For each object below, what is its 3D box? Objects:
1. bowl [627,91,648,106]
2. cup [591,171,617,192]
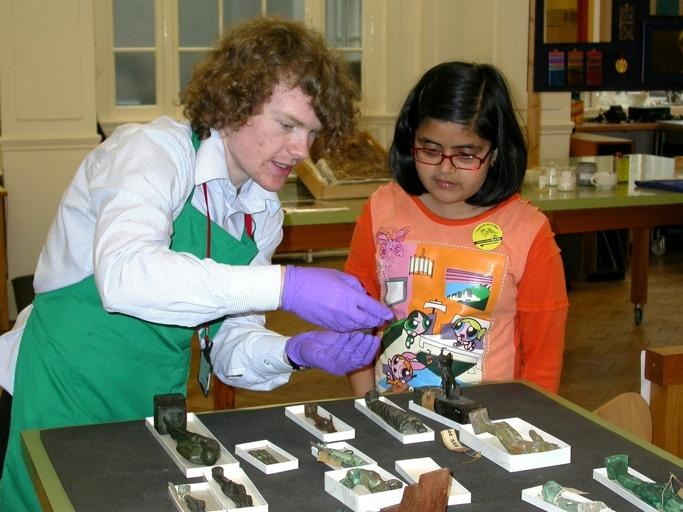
[{"bbox_3d":[4.432,-2.315,8.711,0.383,0.175,0.157,-7,17,-27],"label":"bowl"},{"bbox_3d":[1.776,-0.502,3.958,0.150,0.108,0.123,-7,9,-34],"label":"cup"}]
